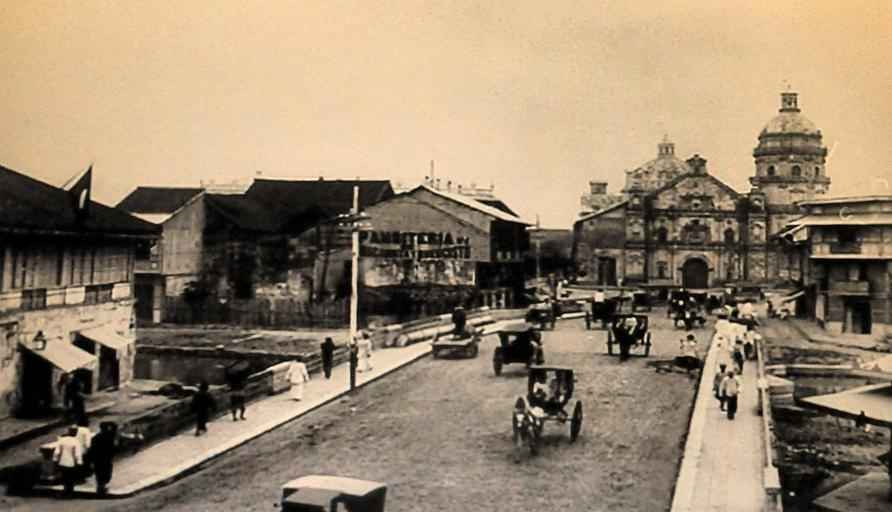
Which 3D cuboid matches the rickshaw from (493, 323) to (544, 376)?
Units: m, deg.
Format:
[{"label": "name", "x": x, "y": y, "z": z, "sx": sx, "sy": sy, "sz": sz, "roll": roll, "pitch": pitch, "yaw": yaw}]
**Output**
[{"label": "rickshaw", "x": 3.220, "y": 4.046, "z": 35.866, "sx": 2.111, "sy": 2.161, "sz": 3.001, "roll": 2, "pitch": 0, "yaw": 5}]
